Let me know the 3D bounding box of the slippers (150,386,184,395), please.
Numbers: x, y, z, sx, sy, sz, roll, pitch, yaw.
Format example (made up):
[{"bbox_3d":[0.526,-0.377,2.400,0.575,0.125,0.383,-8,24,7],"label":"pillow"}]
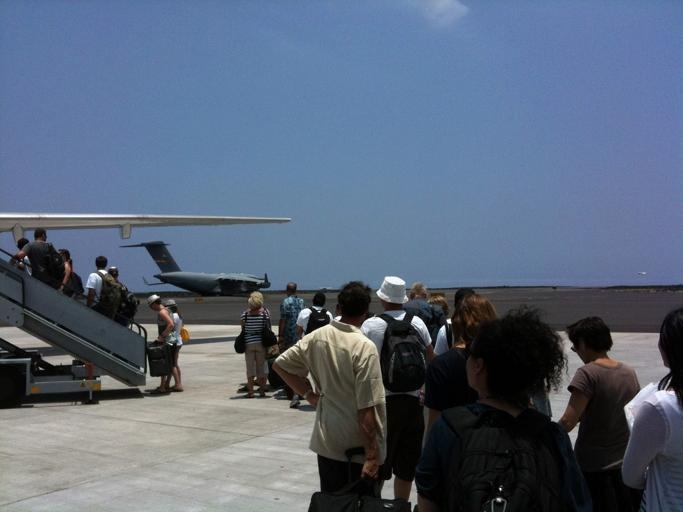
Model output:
[{"bbox_3d":[-3.352,2.600,12.606,0.600,0.263,0.245,7,-10,-10],"label":"slippers"}]

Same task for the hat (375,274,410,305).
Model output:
[{"bbox_3d":[0.509,0.348,6.313,0.388,0.258,0.495,7,0,1],"label":"hat"}]

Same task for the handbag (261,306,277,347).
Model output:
[{"bbox_3d":[-1.350,1.442,12.013,0.339,0.581,0.580,1,-18,-7],"label":"handbag"}]

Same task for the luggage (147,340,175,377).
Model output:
[{"bbox_3d":[-3.327,1.870,11.981,0.371,0.661,0.374,-5,12,-8],"label":"luggage"}]

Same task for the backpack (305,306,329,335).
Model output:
[{"bbox_3d":[-0.381,0.999,10.580,0.338,0.495,0.456,9,-25,-17],"label":"backpack"}]
